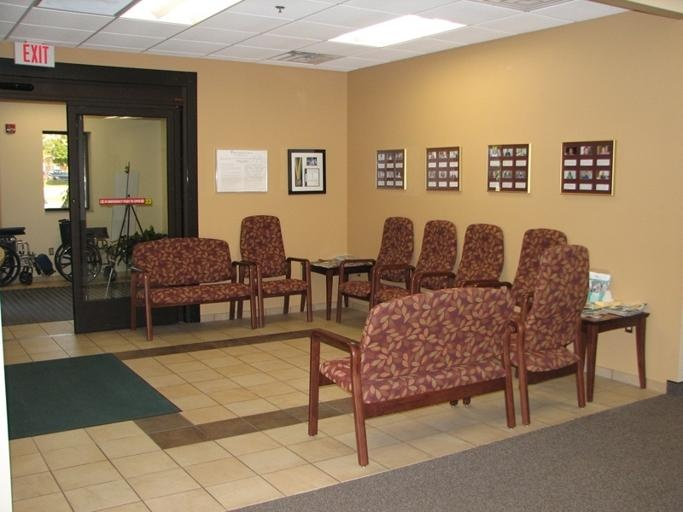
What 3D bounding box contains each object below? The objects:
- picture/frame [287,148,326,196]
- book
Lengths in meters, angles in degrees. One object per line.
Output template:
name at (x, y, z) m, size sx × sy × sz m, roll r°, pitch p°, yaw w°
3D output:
picture/frame at (-0.556, -1.298, 7.714) m, size 0.820 × 0.758 × 0.061 m, roll -3°, pitch 7°, yaw -30°
book at (2.454, 0.341, 4.600) m, size 0.540 × 0.288 × 0.500 m, roll -1°, pitch 2°, yaw -33°
